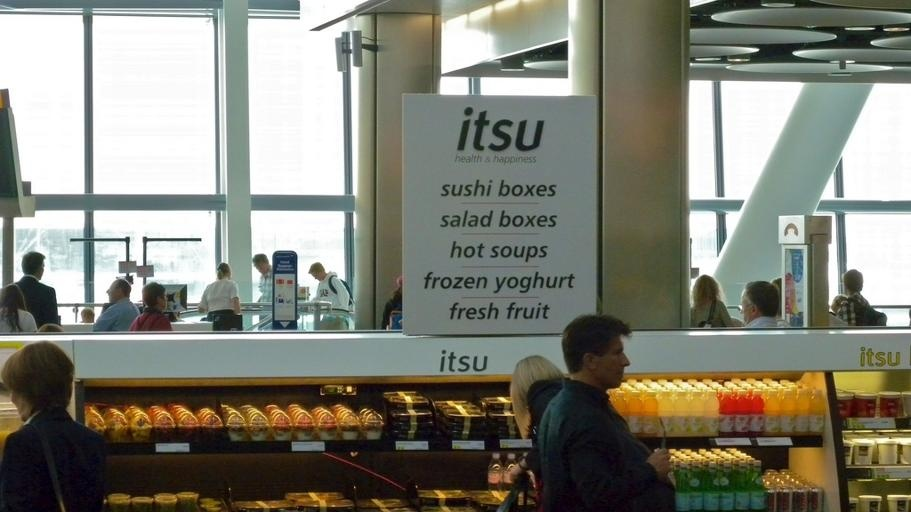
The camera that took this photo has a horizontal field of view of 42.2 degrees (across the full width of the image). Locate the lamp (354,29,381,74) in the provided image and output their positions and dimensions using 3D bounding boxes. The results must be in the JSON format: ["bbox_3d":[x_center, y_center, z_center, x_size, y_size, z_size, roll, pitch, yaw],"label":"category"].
[{"bbox_3d":[-1.229,-2.951,16.758,0.394,0.484,0.596,4,6,9],"label":"lamp"}]

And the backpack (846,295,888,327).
[{"bbox_3d":[5.723,0.788,16.504,0.559,0.517,0.257,14,21,17],"label":"backpack"}]

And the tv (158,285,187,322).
[{"bbox_3d":[-4.609,0.844,19.640,0.215,0.582,0.604,7,-28,-23],"label":"tv"}]

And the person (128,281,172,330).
[{"bbox_3d":[-3.888,0.716,15.190,0.486,0.765,0.841,0,-1,-41],"label":"person"}]

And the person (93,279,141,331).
[{"bbox_3d":[-5.073,0.743,17.828,0.520,0.695,0.913,5,6,32],"label":"person"}]

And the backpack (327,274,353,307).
[{"bbox_3d":[-1.849,0.599,19.314,0.316,0.517,0.505,11,2,-37],"label":"backpack"}]

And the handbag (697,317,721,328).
[{"bbox_3d":[3.264,0.850,15.364,0.195,0.162,0.320,3,8,15],"label":"handbag"}]

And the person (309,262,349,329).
[{"bbox_3d":[-2.107,0.693,19.585,0.628,1.304,0.515,5,-42,-12],"label":"person"}]
